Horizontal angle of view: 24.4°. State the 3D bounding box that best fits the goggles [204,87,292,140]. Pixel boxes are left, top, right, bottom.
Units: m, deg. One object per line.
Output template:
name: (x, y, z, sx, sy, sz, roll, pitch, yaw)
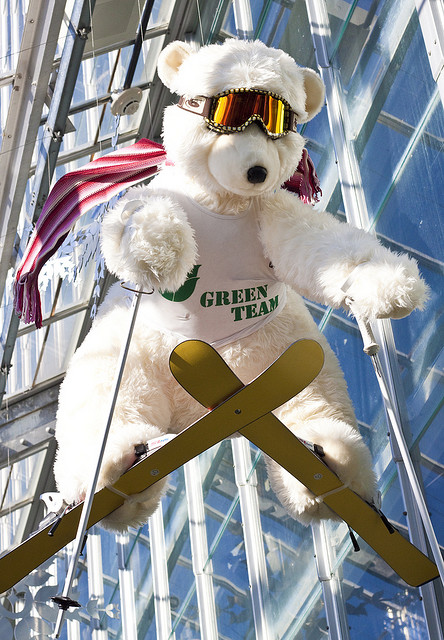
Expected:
goggles: (0.074, -0.609, 2.988, 0.248, 0.088, 0.144, 0, 74, 0)
